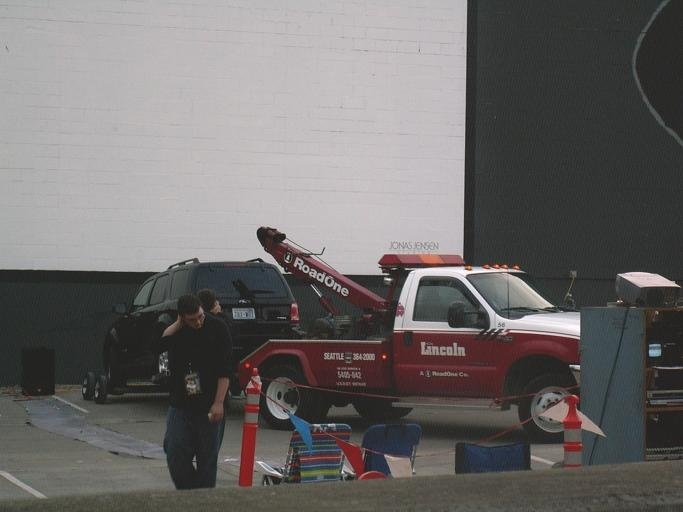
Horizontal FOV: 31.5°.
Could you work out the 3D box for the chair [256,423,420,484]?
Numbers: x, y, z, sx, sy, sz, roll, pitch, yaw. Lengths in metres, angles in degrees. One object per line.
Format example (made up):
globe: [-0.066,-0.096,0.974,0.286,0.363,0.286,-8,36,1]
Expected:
chair: [0.009,2.572,15.739,2.096,0.799,0.764,0,-1,-11]

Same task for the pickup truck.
pickup truck: [1.534,1.294,21.534,5.164,2.615,3.078,-3,-4,27]

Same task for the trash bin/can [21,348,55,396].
trash bin/can: [-6.505,2.474,25.878,0.651,1.018,0.326,0,-1,-21]

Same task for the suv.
suv: [-3.050,1.295,24.400,2.214,1.917,4.041,1,-3,-33]

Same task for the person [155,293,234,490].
person: [-1.937,1.786,16.142,0.920,2.563,0.436,0,0,-9]

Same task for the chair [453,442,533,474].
chair: [1.910,2.538,15.233,0.954,0.362,0.662,0,-1,3]
